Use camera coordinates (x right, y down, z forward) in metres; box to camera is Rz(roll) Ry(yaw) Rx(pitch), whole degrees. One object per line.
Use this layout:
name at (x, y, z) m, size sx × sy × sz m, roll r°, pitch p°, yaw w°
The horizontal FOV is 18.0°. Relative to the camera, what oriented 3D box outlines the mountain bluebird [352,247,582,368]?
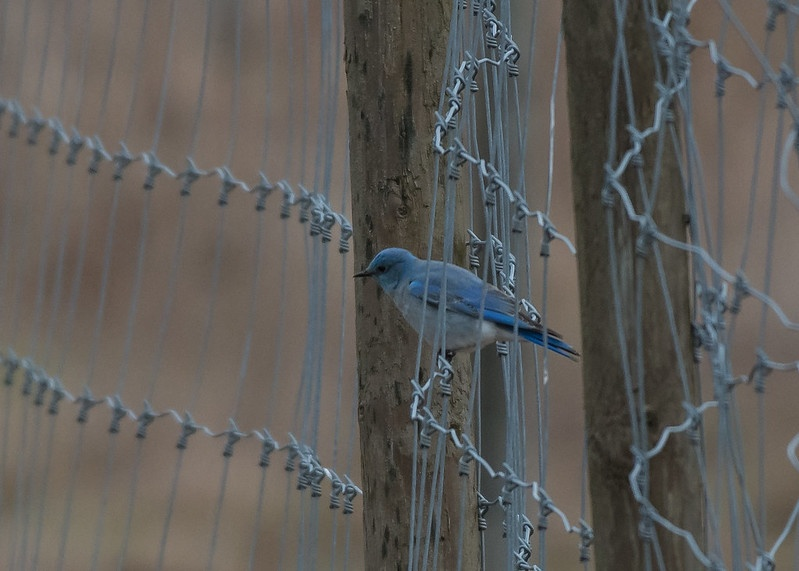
mountain bluebird at (0.298, 0.080, 10.190) m, size 0.915 × 0.418 × 0.297 m, roll 3°, pitch -10°, yaw -4°
